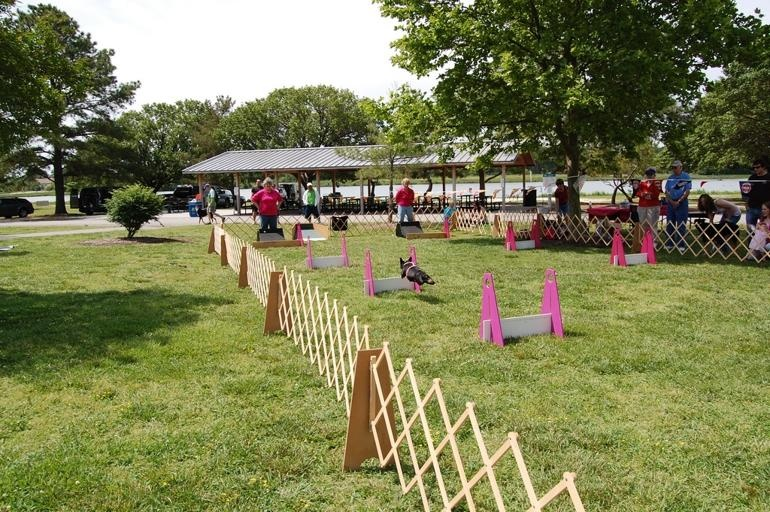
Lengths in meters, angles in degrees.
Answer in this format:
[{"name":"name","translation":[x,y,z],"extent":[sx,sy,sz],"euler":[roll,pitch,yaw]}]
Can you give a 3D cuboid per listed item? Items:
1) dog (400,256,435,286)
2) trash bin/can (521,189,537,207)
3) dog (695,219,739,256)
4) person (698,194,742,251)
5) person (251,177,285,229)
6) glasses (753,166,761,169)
[{"name":"dog","translation":[0.659,0.367,12.779],"extent":[0.301,0.524,1.040],"euler":[-3,21,-22]},{"name":"trash bin/can","translation":[8.101,-3.261,35.175],"extent":[0.702,1.030,2.312],"euler":[0,7,14]},{"name":"dog","translation":[9.073,-0.540,17.036],"extent":[0.883,0.821,2.017],"euler":[2,7,30]},{"name":"person","translation":[9.224,-0.959,17.417],"extent":[1.031,1.737,0.665],"euler":[-7,19,15]},{"name":"person","translation":[-3.489,-1.507,18.687],"extent":[0.859,1.611,1.888],"euler":[-2,6,-11]},{"name":"glasses","translation":[8.940,-2.124,15.109],"extent":[0.120,0.038,0.127],"euler":[0,2,-20]}]
